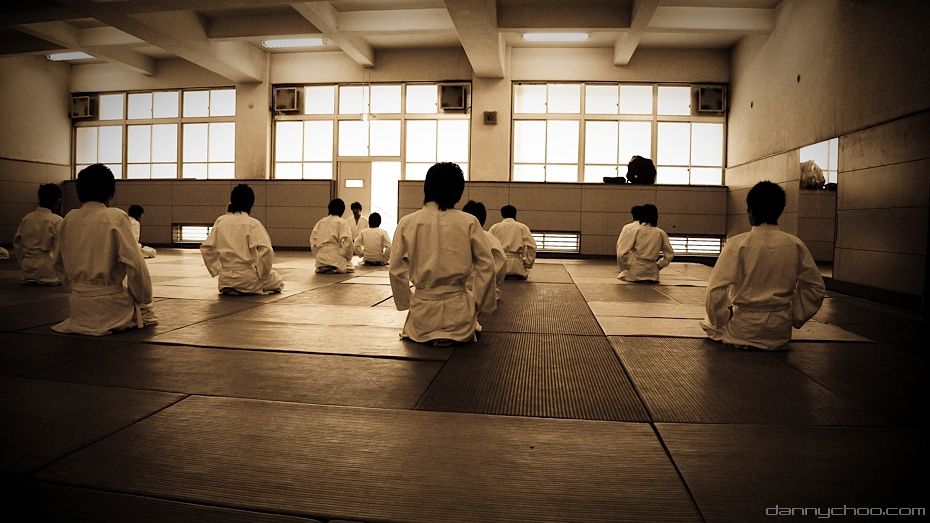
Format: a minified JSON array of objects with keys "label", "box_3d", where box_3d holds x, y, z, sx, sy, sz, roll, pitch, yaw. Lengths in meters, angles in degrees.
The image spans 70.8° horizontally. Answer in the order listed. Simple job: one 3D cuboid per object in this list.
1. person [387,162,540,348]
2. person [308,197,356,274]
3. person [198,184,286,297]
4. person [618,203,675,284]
[{"label":"person","box_3d":[-0.228,-0.095,7.332,1.204,2.023,0.391,2,7,-6]},{"label":"person","box_3d":[-2.242,-0.464,11.581,0.957,1.212,0.832,4,-2,27]},{"label":"person","box_3d":[-3.121,-0.305,9.141,1.061,1.535,0.340,0,7,-17]},{"label":"person","box_3d":[2.991,-0.293,10.795,0.854,1.264,0.518,4,7,14]}]
